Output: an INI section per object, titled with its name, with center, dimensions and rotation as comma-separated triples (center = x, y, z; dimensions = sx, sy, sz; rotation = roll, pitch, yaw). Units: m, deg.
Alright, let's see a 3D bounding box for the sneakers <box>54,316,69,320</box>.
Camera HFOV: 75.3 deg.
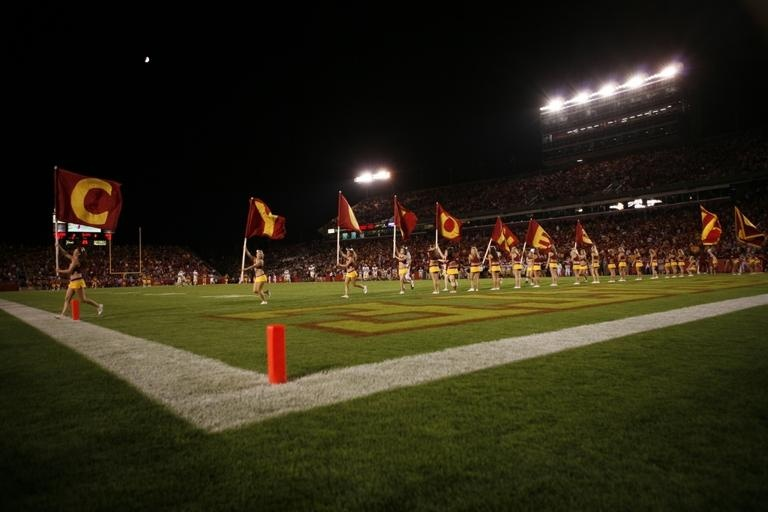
[sneakers]
center = -7.309, 1.414, 11.357
dimensions = 0.113, 0.146, 0.318
rotation = 2, -1, 2
